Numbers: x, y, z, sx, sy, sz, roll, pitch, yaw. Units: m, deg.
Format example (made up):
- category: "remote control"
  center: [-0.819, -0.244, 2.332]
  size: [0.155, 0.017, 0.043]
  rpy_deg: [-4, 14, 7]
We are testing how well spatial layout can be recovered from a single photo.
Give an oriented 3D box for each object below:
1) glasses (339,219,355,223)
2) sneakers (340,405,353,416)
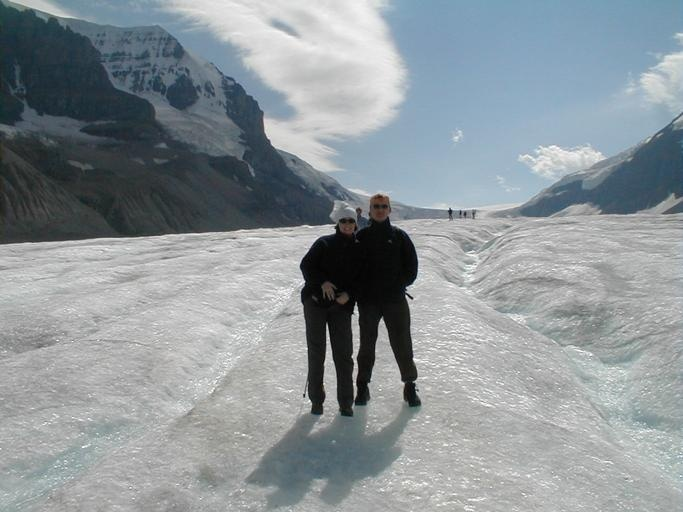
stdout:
- category: "glasses"
  center: [0.077, -0.437, 6.031]
  size: [0.184, 0.060, 0.061]
  rpy_deg: [5, 19, 0]
- category: "sneakers"
  center: [0.063, 1.946, 6.106]
  size: [0.131, 0.101, 0.159]
  rpy_deg: [-6, 46, 3]
